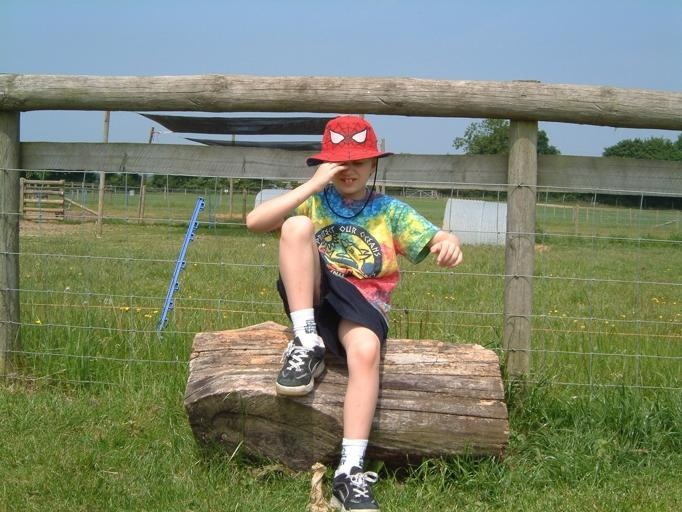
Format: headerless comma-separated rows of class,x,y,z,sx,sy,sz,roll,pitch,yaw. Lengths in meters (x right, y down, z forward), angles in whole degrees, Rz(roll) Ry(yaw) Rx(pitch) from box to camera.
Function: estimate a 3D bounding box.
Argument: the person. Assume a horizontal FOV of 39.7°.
person,0.043,0.342,6.670,1.183,2.760,0.888,4,0,33
